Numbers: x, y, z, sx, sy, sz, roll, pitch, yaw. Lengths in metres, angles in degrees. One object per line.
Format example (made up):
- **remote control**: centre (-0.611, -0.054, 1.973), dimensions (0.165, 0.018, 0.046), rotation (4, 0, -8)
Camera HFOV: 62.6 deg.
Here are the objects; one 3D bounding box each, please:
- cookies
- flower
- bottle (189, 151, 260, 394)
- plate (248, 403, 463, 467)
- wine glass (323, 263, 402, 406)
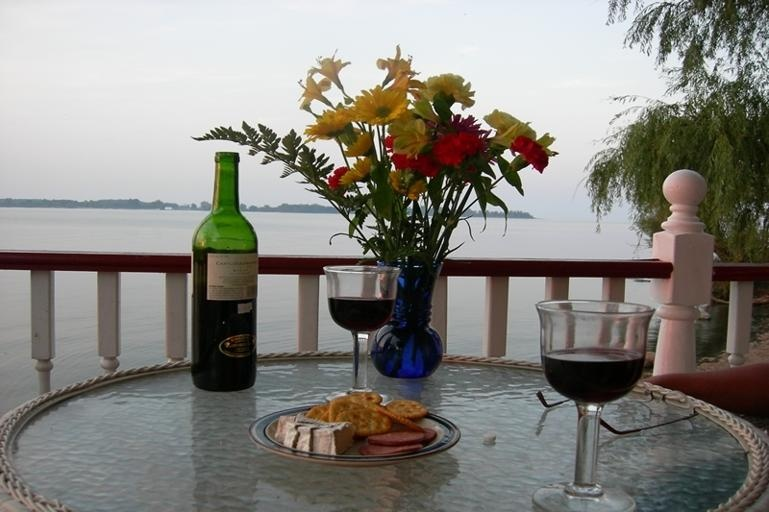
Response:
- **cookies**: centre (-0.018, 0.314, 1.222), dimensions (0.205, 0.076, 0.151), rotation (-1, 1, 30)
- **flower**: centre (-0.088, -0.138, 1.893), dimensions (0.990, 0.831, 0.784), rotation (-1, 6, -17)
- **bottle**: centre (-0.366, 0.035, 1.500), dimensions (0.160, 0.549, 0.151), rotation (2, 3, 0)
- **plate**: centre (-0.057, 0.399, 1.302), dimensions (0.463, 0.060, 0.251), rotation (11, -24, 7)
- **wine glass**: centre (-0.052, 0.177, 1.512), dimensions (0.157, 0.316, 0.160), rotation (-2, 2, -39)
